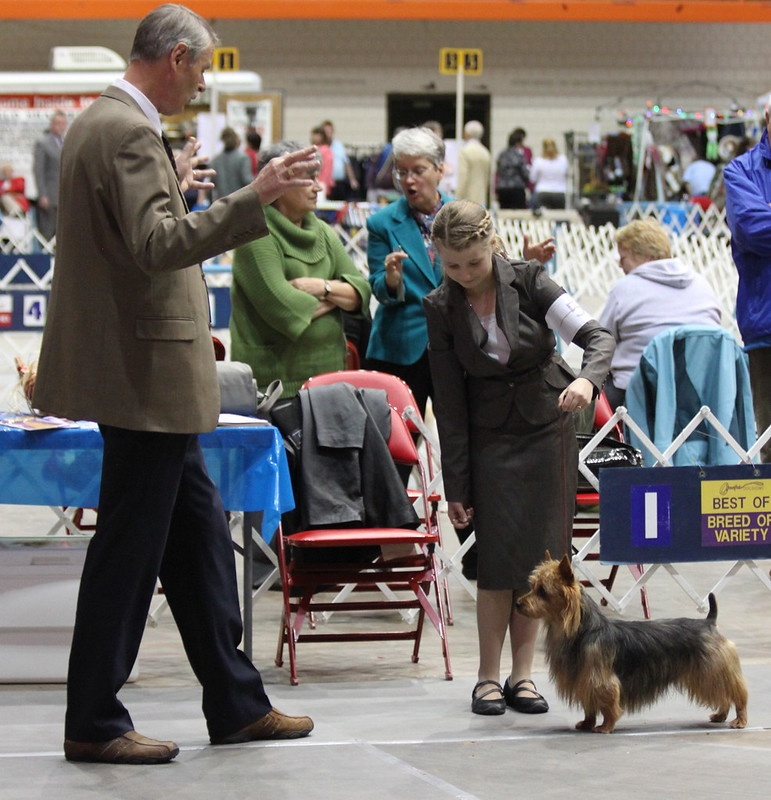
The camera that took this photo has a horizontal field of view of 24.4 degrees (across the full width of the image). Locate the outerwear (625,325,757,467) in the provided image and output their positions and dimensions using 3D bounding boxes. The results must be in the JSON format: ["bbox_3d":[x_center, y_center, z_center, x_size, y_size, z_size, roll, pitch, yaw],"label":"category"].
[{"bbox_3d":[1.286,-0.012,7.485,0.568,0.681,0.271,-1,23,-9],"label":"outerwear"}]

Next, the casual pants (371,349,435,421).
[{"bbox_3d":[0.031,-0.106,7.720,0.243,0.281,0.361,3,-35,9],"label":"casual pants"}]

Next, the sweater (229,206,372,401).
[{"bbox_3d":[-0.372,-0.413,7.408,0.495,0.786,0.594,3,12,26],"label":"sweater"}]

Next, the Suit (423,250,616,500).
[{"bbox_3d":[0.441,-0.022,5.866,0.573,0.953,0.467,-5,19,15],"label":"Suit"}]

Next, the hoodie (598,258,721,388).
[{"bbox_3d":[1.246,-0.255,7.996,0.606,0.674,0.355,2,-8,-9],"label":"hoodie"}]

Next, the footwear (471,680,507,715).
[{"bbox_3d":[0.331,0.974,5.806,0.072,0.076,0.186,1,-7,0],"label":"footwear"}]

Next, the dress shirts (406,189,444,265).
[{"bbox_3d":[0.141,-0.712,7.443,0.202,0.292,0.162,0,16,-8],"label":"dress shirts"}]

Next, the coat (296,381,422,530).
[{"bbox_3d":[-0.124,0.195,6.541,0.423,0.624,0.136,2,-37,-10],"label":"coat"}]

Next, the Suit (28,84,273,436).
[{"bbox_3d":[-0.670,-0.387,5.059,0.652,0.976,0.386,0,7,-11],"label":"Suit"}]

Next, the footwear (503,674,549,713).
[{"bbox_3d":[0.449,0.976,5.864,0.071,0.077,0.172,0,-3,-22],"label":"footwear"}]
